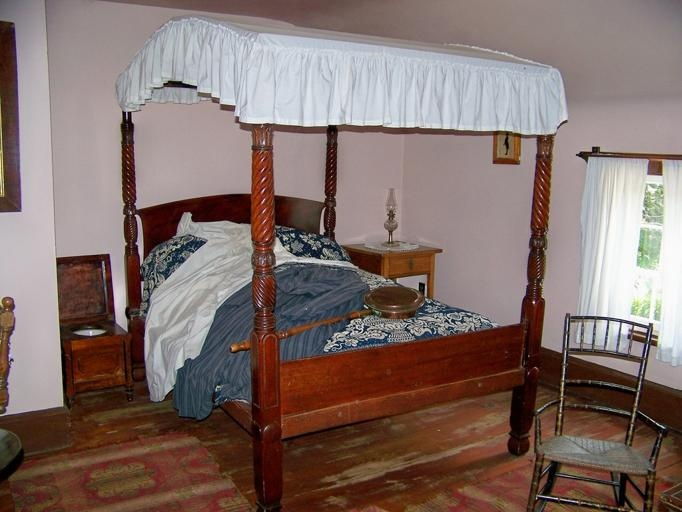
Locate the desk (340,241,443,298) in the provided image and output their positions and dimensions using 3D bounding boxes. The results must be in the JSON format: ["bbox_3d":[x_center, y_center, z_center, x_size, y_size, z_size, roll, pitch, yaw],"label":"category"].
[{"bbox_3d":[0.512,-0.024,5.961,0.693,0.893,0.721,-7,12,-40],"label":"desk"}]
